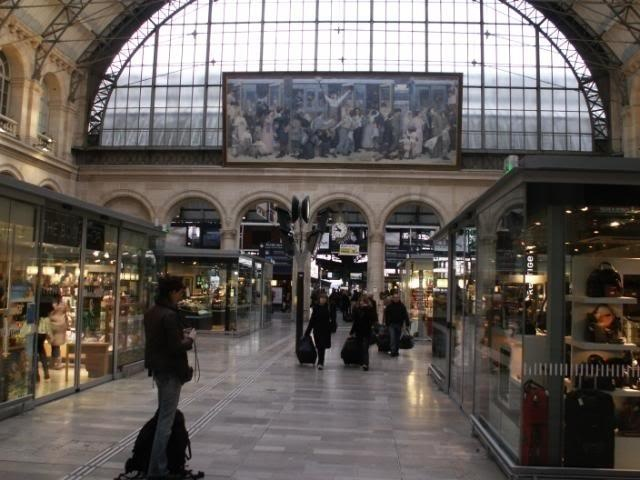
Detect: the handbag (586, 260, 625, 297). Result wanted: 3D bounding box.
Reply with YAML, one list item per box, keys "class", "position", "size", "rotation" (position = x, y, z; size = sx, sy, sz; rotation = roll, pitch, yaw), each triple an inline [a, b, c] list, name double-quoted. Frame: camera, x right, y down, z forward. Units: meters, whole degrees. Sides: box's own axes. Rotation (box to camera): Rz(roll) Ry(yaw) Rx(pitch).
- class: "handbag"
  position: [3.526, 0.487, 7.471]
  size: [0.382, 0.430, 0.164]
  rotation: [-2, 4, 17]

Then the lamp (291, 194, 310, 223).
- class: "lamp"
  position: [-0.506, -0.779, 16.045]
  size: [0.508, 0.941, 0.914]
  rotation: [0, -7, -1]

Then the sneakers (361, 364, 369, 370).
- class: "sneakers"
  position: [1.103, 3.038, 14.587]
  size: [0.088, 0.160, 0.152]
  rotation: [1, -7, -14]

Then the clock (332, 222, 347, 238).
- class: "clock"
  position: [1.060, -0.525, 32.679]
  size: [0.749, 0.864, 0.292]
  rotation: [-3, -2, 0]

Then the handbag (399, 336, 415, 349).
- class: "handbag"
  position: [2.614, 3.051, 18.250]
  size: [0.427, 0.488, 0.289]
  rotation: [1, -2, 26]

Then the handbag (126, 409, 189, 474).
- class: "handbag"
  position: [-1.887, 2.387, 7.319]
  size: [0.533, 0.859, 0.768]
  rotation: [6, 10, 16]
